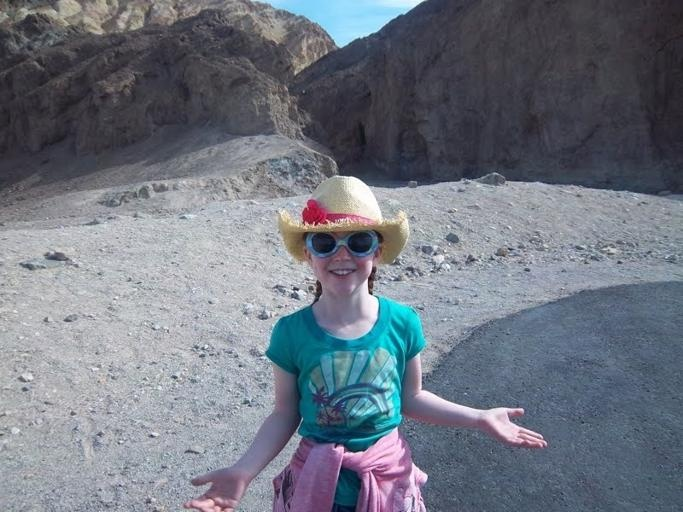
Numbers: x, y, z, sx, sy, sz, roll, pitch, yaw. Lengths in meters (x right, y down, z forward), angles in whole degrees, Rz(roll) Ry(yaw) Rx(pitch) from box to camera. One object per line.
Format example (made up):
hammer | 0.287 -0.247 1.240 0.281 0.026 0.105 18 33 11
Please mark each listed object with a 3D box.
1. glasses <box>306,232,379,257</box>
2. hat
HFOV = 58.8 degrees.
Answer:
glasses | 0.005 -0.071 3.616 0.415 0.150 0.062 -3 16 -1
hat | 0.018 -0.247 3.641 0.594 0.229 0.660 -1 -19 3
